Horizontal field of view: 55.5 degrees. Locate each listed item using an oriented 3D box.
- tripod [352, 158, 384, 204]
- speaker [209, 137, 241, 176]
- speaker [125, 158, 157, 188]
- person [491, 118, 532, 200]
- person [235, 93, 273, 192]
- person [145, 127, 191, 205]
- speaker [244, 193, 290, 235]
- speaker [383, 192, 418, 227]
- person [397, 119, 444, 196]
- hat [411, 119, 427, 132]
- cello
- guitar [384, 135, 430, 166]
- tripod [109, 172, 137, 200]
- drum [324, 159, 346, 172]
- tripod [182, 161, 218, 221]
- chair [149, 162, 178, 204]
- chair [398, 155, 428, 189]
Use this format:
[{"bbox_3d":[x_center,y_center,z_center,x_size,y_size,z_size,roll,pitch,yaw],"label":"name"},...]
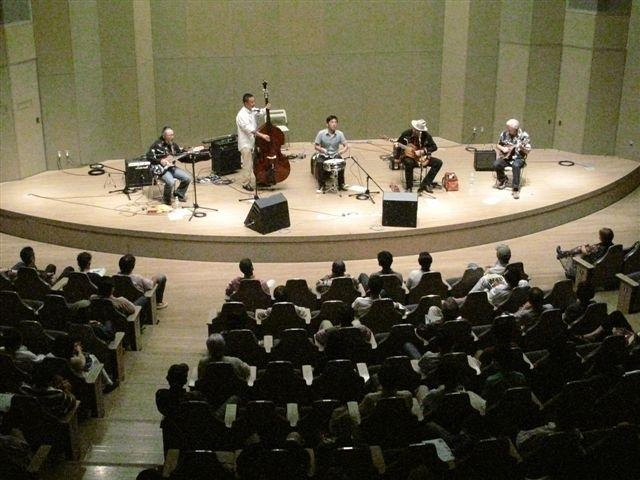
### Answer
[{"bbox_3d":[0.933,-1.143,12.009,0.721,0.949,0.627,10,46,13],"label":"tripod"},{"bbox_3d":[-1.930,-1.734,12.458,0.351,0.666,0.558,17,30,32],"label":"speaker"},{"bbox_3d":[-3.365,-1.282,11.493,0.446,0.420,0.288,-6,35,-21],"label":"speaker"},{"bbox_3d":[3.656,-1.600,11.634,0.734,1.593,0.686,3,21,5],"label":"person"},{"bbox_3d":[-1.308,-1.975,11.873,0.628,2.199,0.584,20,27,39],"label":"person"},{"bbox_3d":[-2.711,-1.368,11.206,0.831,1.533,0.715,-7,22,-20],"label":"person"},{"bbox_3d":[-0.900,-0.481,9.978,0.821,0.616,0.496,-9,23,-29],"label":"speaker"},{"bbox_3d":[1.317,-0.557,10.058,0.562,0.521,0.562,1,16,7],"label":"speaker"},{"bbox_3d":[1.889,-1.691,11.753,0.826,1.483,0.717,-3,21,-8],"label":"person"},{"bbox_3d":[1.881,-2.185,11.632,0.249,0.228,0.333,0,10,5],"label":"hat"},{"bbox_3d":[-0.910,-1.931,11.314,0.637,1.957,0.997,-1,10,-3],"label":"cello"},{"bbox_3d":[1.763,-1.694,12.039,0.494,0.171,1.129,31,9,12],"label":"guitar"},{"bbox_3d":[-3.637,-1.086,11.544,0.543,0.486,0.519,-2,44,-23],"label":"tripod"},{"bbox_3d":[0.255,-1.379,11.324,0.394,0.258,0.382,-1,10,0],"label":"drum"},{"bbox_3d":[-2.062,-0.903,10.619,0.587,1.170,0.561,-8,22,-16],"label":"tripod"},{"bbox_3d":[-2.860,-1.054,11.159,0.499,0.766,0.465,9,31,21],"label":"chair"},{"bbox_3d":[1.735,-1.268,11.504,0.519,0.634,0.452,2,10,17],"label":"chair"}]
